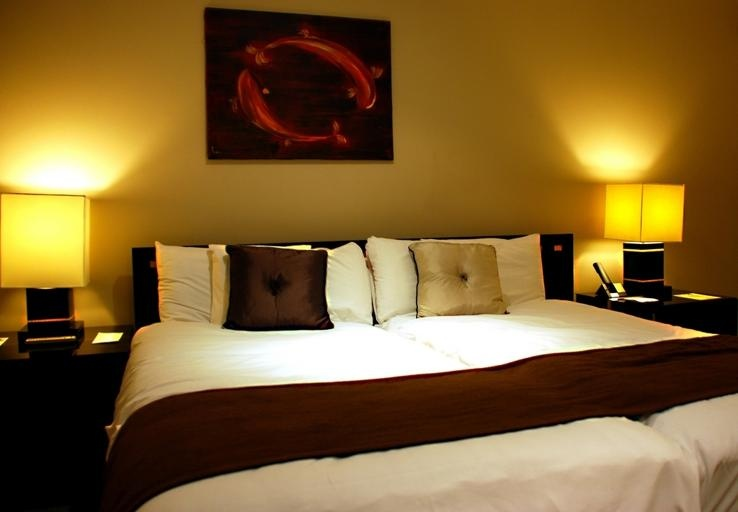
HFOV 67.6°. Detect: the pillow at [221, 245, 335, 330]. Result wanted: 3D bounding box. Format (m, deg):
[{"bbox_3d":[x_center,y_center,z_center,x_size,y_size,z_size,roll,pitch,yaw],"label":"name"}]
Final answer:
[{"bbox_3d":[-0.492,0.185,3.045,0.513,0.478,0.143,-4,-9,-5],"label":"pillow"}]
